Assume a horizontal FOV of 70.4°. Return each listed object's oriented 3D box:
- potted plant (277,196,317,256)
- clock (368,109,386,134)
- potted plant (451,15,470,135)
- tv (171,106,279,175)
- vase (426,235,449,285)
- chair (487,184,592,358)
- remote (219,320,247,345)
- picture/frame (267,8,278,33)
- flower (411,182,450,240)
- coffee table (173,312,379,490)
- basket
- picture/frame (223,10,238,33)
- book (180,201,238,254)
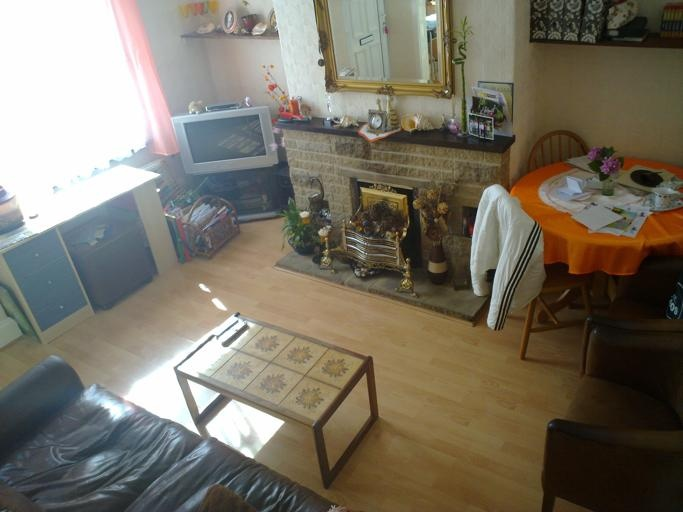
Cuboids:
[{"bbox_3d":[-0.419,-0.250,4.681,0.272,0.518,0.375,-25,36,-31],"label":"potted plant"},{"bbox_3d":[0.291,-1.125,4.038,0.160,0.176,0.055,9,9,27],"label":"clock"},{"bbox_3d":[0.888,-1.336,3.610,0.139,0.809,0.112,2,30,11],"label":"potted plant"},{"bbox_3d":[-1.260,-1.289,5.365,1.142,0.866,0.609,-6,35,-2],"label":"tv"},{"bbox_3d":[0.820,0.046,4.121,0.164,0.411,0.102,1,30,10],"label":"vase"},{"bbox_3d":[1.362,0.084,3.332,0.629,1.055,0.601,-12,42,-1],"label":"chair"},{"bbox_3d":[-0.753,0.534,3.377,0.101,0.047,0.194,18,46,27],"label":"remote"},{"bbox_3d":[-0.697,-2.327,4.800,0.075,0.203,0.314,-9,31,-7],"label":"picture/frame"},{"bbox_3d":[0.751,-0.343,4.064,0.289,0.501,0.319,3,31,12],"label":"flower"},{"bbox_3d":[-0.429,0.940,3.285,1.133,0.622,0.699,12,35,25],"label":"coffee table"},{"bbox_3d":[-1.525,-0.369,5.189,0.546,0.623,0.717,17,34,19],"label":"basket"},{"bbox_3d":[-1.162,-2.437,5.051,0.220,0.239,0.053,14,18,37],"label":"picture/frame"},{"bbox_3d":[-1.415,-0.282,5.110,0.231,0.370,0.372,24,47,23],"label":"book"}]
